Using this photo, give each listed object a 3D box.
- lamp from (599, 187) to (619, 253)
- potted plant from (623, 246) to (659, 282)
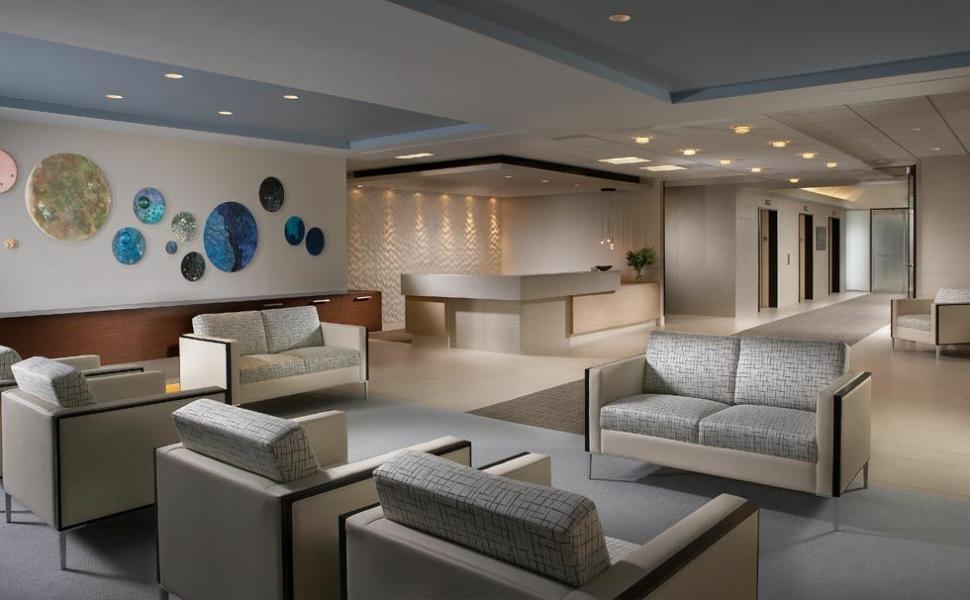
[{"bbox_3d":[2.834,-1.826,13.649,0.206,1.357,0.428,-10,13,-41],"label":"lamp"},{"bbox_3d":[3.381,-0.802,13.085,0.716,0.838,0.899,4,4,37],"label":"potted plant"}]
